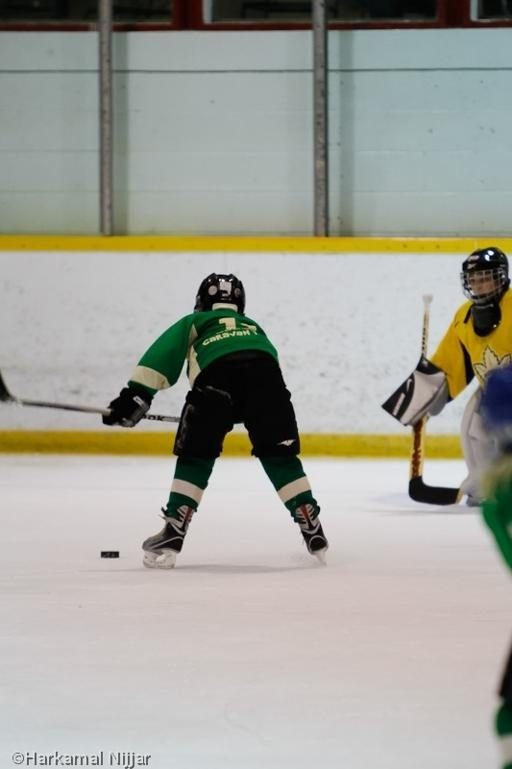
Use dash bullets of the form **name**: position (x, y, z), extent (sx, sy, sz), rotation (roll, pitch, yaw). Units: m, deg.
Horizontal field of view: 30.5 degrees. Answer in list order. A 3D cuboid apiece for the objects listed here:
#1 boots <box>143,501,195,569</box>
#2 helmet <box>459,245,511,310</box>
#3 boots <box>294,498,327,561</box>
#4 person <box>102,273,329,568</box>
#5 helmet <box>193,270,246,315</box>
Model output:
- **boots**: position (-0.216, 0.389, 2.435), extent (0.102, 0.152, 0.176), rotation (1, 1, 17)
- **helmet**: position (0.809, -0.377, 3.379), extent (0.170, 0.200, 0.225), rotation (-21, -6, 36)
- **boots**: position (0.149, 0.380, 2.443), extent (0.063, 0.169, 0.075), rotation (-18, 20, 8)
- **person**: position (-0.168, 0.160, 3.577), extent (1.024, 0.726, 1.297), rotation (0, 46, 0)
- **helmet**: position (-0.111, -0.262, 2.726), extent (0.117, 0.127, 0.135), rotation (2, 8, -7)
